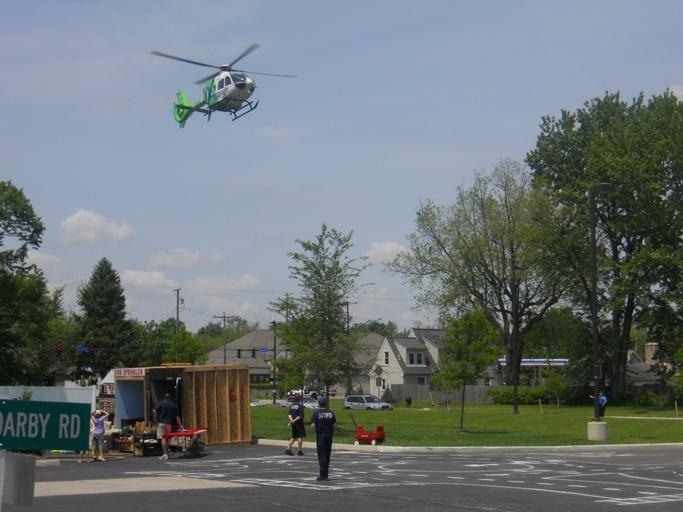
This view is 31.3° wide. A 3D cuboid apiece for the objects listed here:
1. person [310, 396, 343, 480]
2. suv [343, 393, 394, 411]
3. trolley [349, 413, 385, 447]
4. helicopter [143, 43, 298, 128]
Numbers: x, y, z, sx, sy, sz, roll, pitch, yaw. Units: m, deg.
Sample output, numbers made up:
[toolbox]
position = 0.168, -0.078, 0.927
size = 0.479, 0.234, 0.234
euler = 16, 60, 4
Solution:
[person]
position = -0.823, 8.172, 54.428
size = 0.999, 3.710, 1.243
euler = -4, -5, 41
[suv]
position = 1.920, 12.001, 99.941
size = 3.887, 1.478, 2.299
euler = -8, -13, 28
[trolley]
position = 1.270, 9.449, 65.462
size = 1.621, 1.426, 1.095
euler = -1, 0, 26
[helicopter]
position = -7.132, -9.636, 69.989
size = 8.584, 3.765, 9.701
euler = 2, -14, -39
